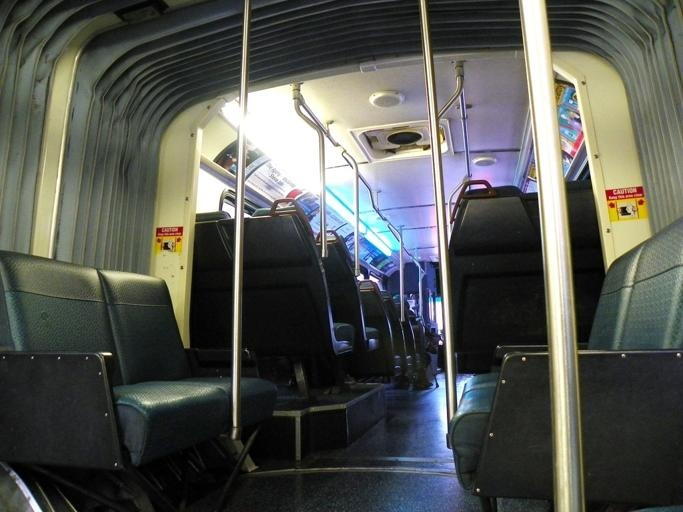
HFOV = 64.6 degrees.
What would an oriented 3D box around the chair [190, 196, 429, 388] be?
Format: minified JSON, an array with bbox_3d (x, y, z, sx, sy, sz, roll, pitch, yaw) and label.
[{"bbox_3d":[-0.426,0.499,5.020,1.161,1.297,2.067,-4,-12,23],"label":"chair"}]
